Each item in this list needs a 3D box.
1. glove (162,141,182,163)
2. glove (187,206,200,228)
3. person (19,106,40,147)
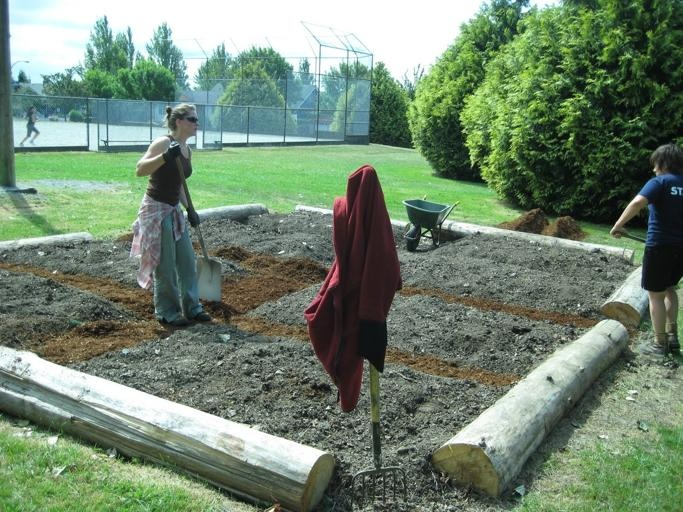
[{"bbox_3d":[-1.954,-1.203,8.567,0.193,0.214,0.282,-1,11,-13],"label":"glove"},{"bbox_3d":[-1.834,-0.479,9.199,0.142,0.225,0.063,17,28,35],"label":"glove"},{"bbox_3d":[-11.017,-4.607,26.170,0.559,1.299,3.355,-3,12,-23],"label":"person"}]
